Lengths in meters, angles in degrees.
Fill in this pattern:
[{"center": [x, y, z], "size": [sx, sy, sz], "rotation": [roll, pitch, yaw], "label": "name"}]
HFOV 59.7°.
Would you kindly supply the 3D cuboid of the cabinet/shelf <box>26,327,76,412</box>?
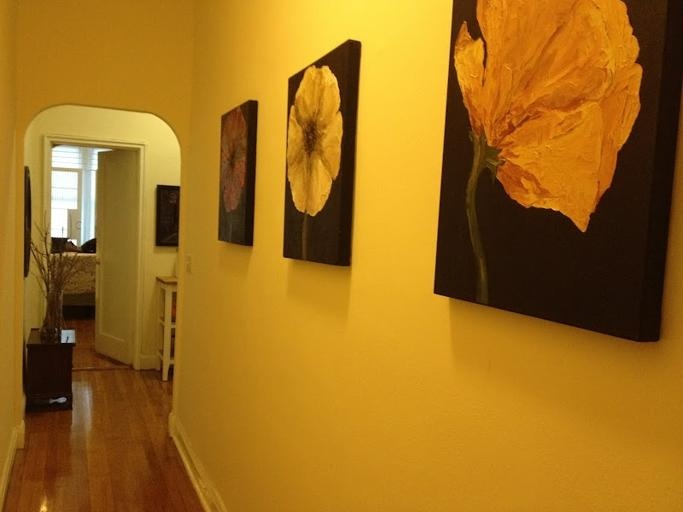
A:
[{"center": [-2.189, 0.804, 4.511], "size": [0.309, 0.545, 0.584], "rotation": [3, 13, -27], "label": "cabinet/shelf"}]
